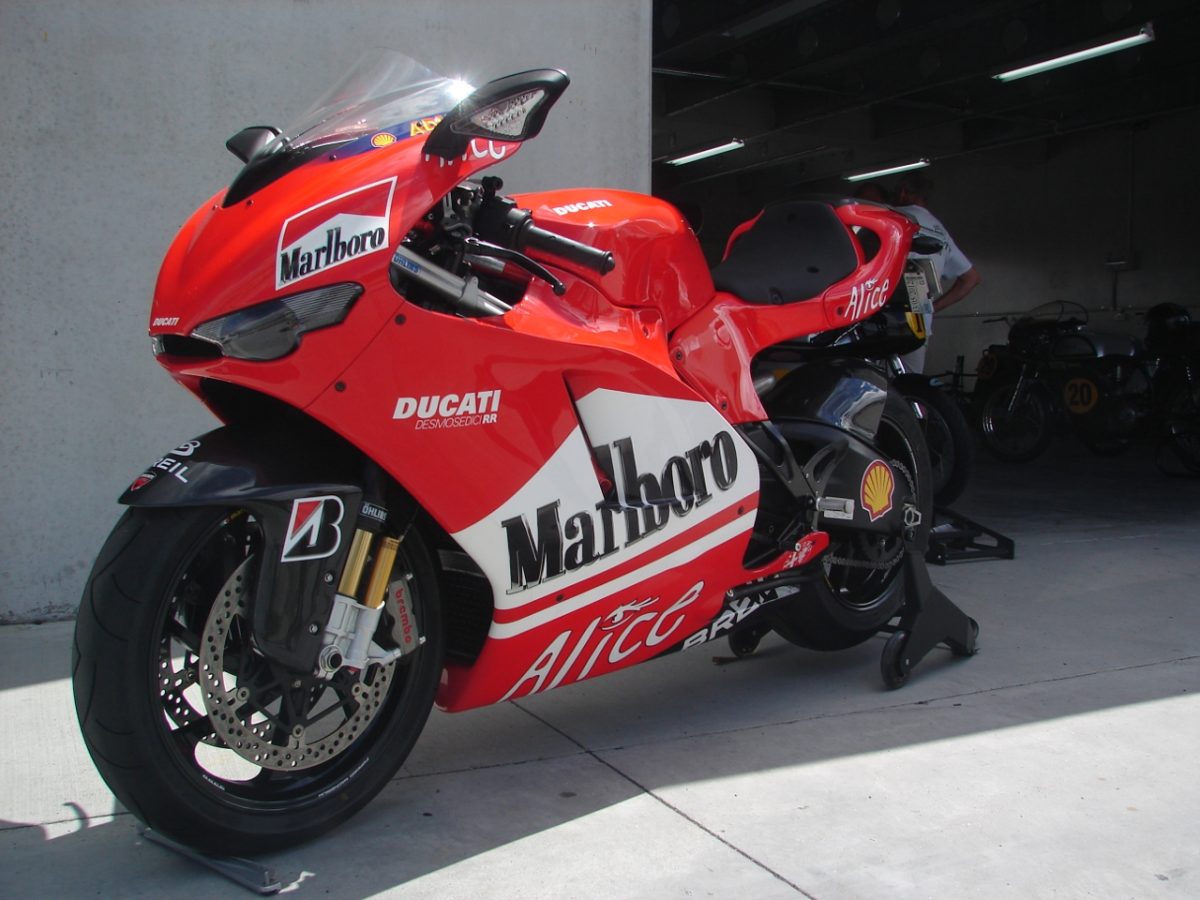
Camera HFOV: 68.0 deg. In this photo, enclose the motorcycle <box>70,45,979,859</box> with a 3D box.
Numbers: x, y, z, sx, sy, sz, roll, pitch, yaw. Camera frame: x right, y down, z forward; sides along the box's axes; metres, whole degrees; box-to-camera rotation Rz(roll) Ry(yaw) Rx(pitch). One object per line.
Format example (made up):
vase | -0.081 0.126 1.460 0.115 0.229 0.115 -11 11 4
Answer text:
motorcycle | -0.123 -0.053 2.351 2.251 1.789 0.458 -5 10 -30
